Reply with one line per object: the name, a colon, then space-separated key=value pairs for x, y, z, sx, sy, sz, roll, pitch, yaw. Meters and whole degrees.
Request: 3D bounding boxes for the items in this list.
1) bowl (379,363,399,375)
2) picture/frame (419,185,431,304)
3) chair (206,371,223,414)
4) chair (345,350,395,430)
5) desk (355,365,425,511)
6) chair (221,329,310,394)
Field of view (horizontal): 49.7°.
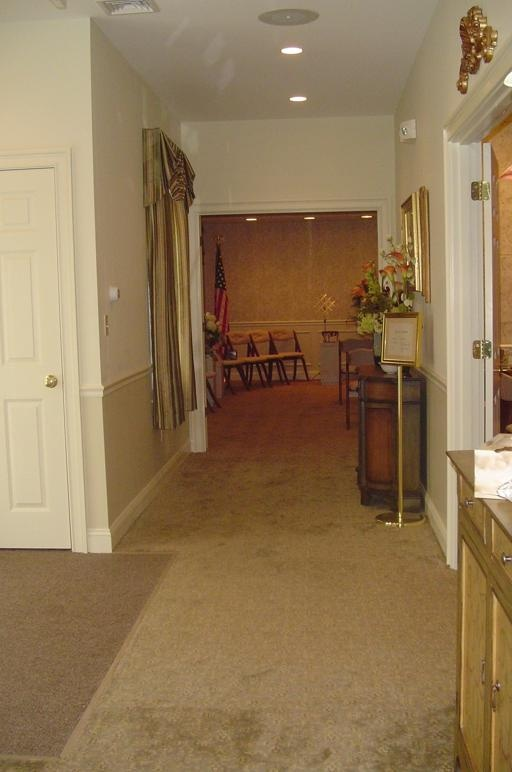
bowl: x=1.005 y=-0.119 z=4.231 sx=0.096 sy=0.092 sz=0.104 roll=0 pitch=4 yaw=0
picture/frame: x=1.124 y=-0.938 z=3.684 sx=0.057 sy=0.597 sz=0.322 roll=-2 pitch=1 yaw=16
chair: x=-0.722 y=0.103 z=9.023 sx=0.390 sy=0.583 sz=0.551 roll=-1 pitch=9 yaw=6
chair: x=1.002 y=0.026 z=4.918 sx=0.293 sy=0.608 sz=0.905 roll=1 pitch=9 yaw=6
desk: x=1.001 y=0.409 z=4.088 sx=0.344 sy=0.950 sz=0.955 roll=1 pitch=4 yaw=6
chair: x=0.257 y=-0.580 z=11.405 sx=1.645 sy=1.057 sz=2.129 roll=-2 pitch=1 yaw=6
